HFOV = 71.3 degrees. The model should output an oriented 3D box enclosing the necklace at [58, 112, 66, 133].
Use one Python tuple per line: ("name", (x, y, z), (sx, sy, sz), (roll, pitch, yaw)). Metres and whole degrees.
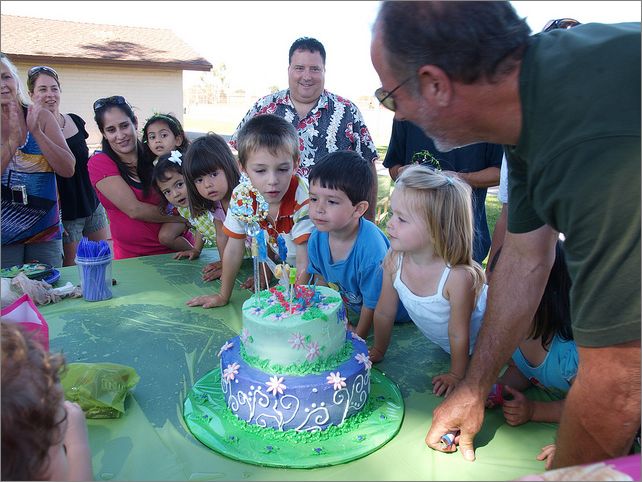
("necklace", (-2.886, -1.324, 4.972), (0.055, 0.218, 0.144), (-8, 1, -16))
